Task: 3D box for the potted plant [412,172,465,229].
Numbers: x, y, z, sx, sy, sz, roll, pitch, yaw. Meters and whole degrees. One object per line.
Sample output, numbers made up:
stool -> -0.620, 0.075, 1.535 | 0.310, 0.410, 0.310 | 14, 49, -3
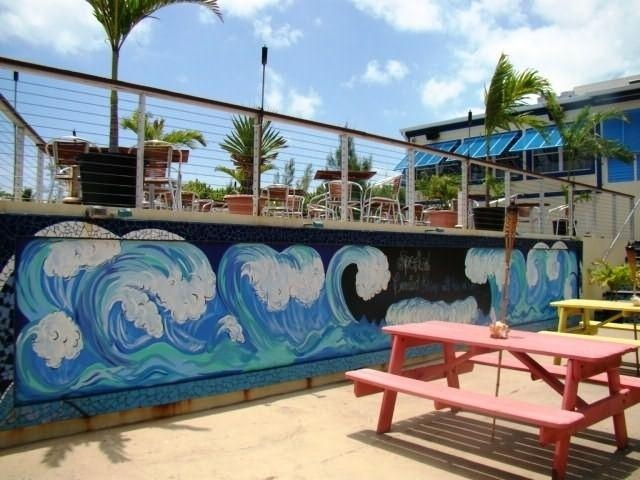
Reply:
potted plant -> 4.735, -1.446, 20.876 | 1.392, 1.999, 1.790 | -2, 0, 25
